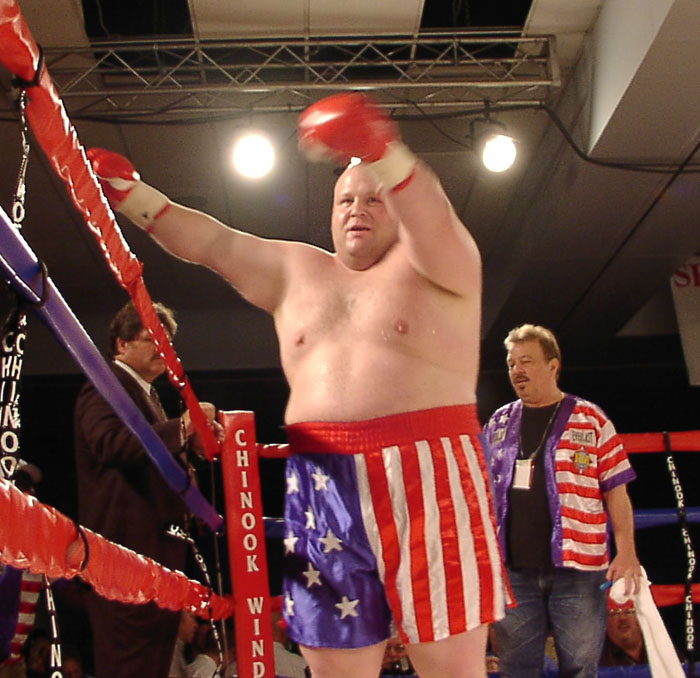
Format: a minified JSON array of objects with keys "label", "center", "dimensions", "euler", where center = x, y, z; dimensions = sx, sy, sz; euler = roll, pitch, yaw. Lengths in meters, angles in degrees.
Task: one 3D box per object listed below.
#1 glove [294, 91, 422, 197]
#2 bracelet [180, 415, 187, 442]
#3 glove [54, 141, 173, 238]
[{"label":"glove","center":[0.017,-0.322,1.234],"dimensions":[0.193,0.081,0.146],"euler":[2,-8,2]},{"label":"bracelet","center":[-0.502,0.275,2.226],"dimensions":[0.023,0.066,0.048],"euler":[4,2,-3]},{"label":"glove","center":[-0.422,-0.283,1.449],"dimensions":[0.080,0.106,0.268],"euler":[-45,-50,8]}]
